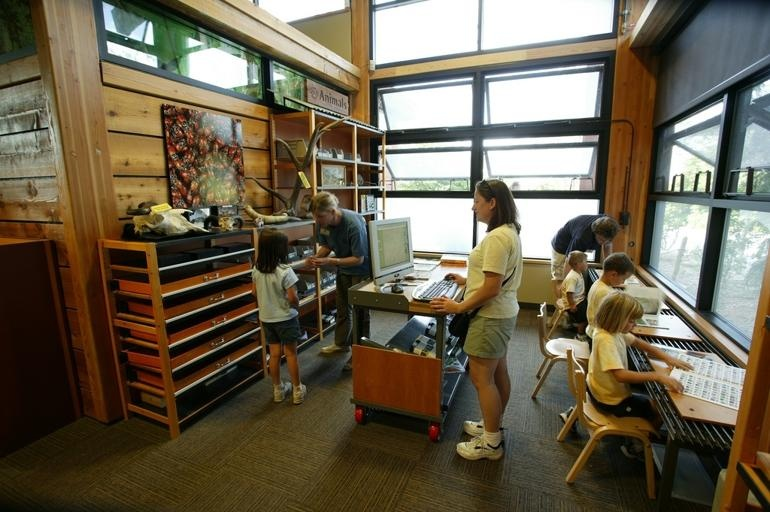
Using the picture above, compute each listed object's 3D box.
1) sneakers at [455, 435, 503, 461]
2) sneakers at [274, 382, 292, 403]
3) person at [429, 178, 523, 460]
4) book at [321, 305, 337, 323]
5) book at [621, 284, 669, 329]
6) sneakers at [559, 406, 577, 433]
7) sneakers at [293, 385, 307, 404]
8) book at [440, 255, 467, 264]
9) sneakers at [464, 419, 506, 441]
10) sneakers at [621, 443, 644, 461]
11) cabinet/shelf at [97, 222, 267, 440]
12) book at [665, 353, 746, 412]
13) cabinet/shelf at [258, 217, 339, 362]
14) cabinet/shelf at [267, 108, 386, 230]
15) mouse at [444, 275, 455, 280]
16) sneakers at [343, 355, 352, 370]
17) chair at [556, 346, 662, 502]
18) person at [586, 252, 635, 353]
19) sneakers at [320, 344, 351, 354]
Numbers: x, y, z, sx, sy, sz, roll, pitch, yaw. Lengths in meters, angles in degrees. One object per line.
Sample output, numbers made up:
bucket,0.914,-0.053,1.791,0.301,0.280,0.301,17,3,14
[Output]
sneakers,0.742,1.542,3.926,0.402,0.177,0.158,1,6,5
sneakers,-0.948,1.248,4.438,0.089,0.155,0.235,1,15,10
person,0.777,0.521,3.786,0.662,2.188,0.413,-7,13,-31
book,-0.672,0.703,5.786,0.152,0.064,0.202,1,14,11
book,2.293,0.414,4.340,0.363,0.464,0.493,0,6,20
sneakers,1.592,1.417,4.188,0.087,0.276,0.114,15,-19,16
sneakers,-0.781,1.263,4.409,0.080,0.129,0.206,0,13,8
book,0.696,0.047,4.871,0.197,0.045,0.192,1,7,6
sneakers,0.821,1.445,4.022,0.325,0.142,0.130,3,7,2
sneakers,1.954,1.538,3.806,0.103,0.065,0.142,5,29,21
cabinet/shelf,-1.783,0.650,4.124,0.748,1.872,1.463,3,14,21
book,2.319,0.876,3.491,0.437,0.203,0.544,6,12,32
cabinet/shelf,-0.858,0.332,4.735,0.409,1.217,1.336,1,13,10
cabinet/shelf,-0.712,-0.995,5.541,0.510,1.567,1.772,5,8,32
mouse,0.583,0.198,4.313,0.098,0.043,0.054,-3,-21,10
sneakers,-0.378,1.106,4.939,0.063,0.104,0.159,2,-4,7
chair,1.725,1.223,3.736,0.714,1.039,0.543,4,12,20
person,1.888,0.408,4.042,0.382,1.033,0.385,-5,39,10
sneakers,-0.539,1.007,5.244,0.339,0.129,0.113,1,1,-2
